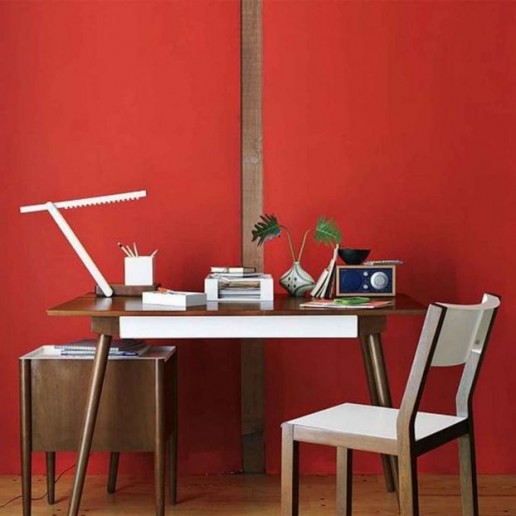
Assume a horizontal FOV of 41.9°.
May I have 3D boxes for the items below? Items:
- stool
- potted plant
[{"bbox_3d":[-0.532,0.554,2.594,0.652,0.773,0.556,1,0,-1],"label":"stool"},{"bbox_3d":[0.158,-0.019,2.689,0.322,0.285,0.139,1,-1,-11],"label":"potted plant"}]
